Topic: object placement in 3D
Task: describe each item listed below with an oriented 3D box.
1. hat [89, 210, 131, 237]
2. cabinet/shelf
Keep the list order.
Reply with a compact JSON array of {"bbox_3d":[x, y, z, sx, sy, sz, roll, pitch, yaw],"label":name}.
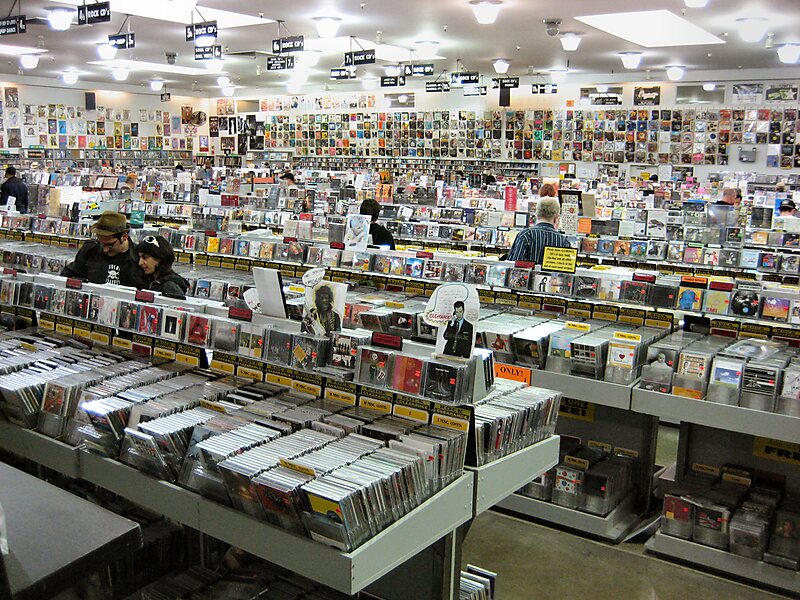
[{"bbox_3d":[-2.039,-0.529,4.297,0.197,0.110,0.260,12,23,-15],"label":"hat"},{"bbox_3d":[0.150,0.353,3.878,3.770,0.840,2.413,9,16,36],"label":"cabinet/shelf"}]
